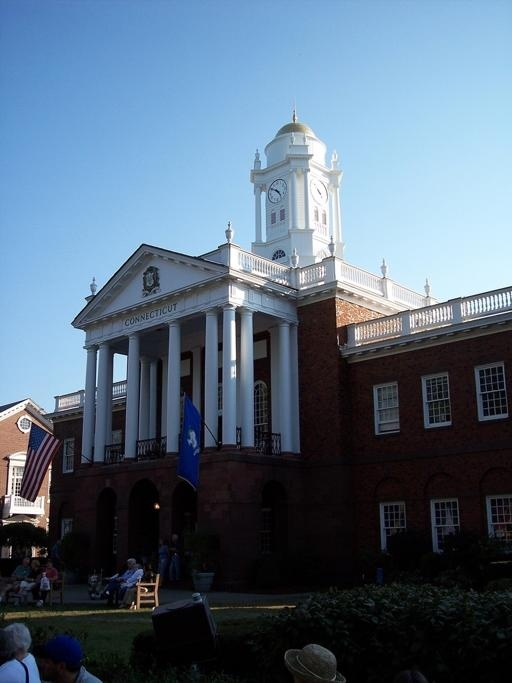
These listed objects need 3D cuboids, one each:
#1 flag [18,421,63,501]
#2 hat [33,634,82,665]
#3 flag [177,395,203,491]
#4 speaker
[{"bbox_3d":[-9.553,5.248,26.444,1.266,3.381,1.374,4,-17,-20],"label":"flag"},{"bbox_3d":[-1.285,2.049,3.973,0.252,0.174,0.303,5,-17,-23],"label":"hat"},{"bbox_3d":[-2.528,3.769,22.771,0.690,3.478,1.034,-5,-17,8],"label":"flag"},{"bbox_3d":[-0.934,3.826,7.903,0.751,0.651,0.739,-9,-23,-6],"label":"speaker"}]
